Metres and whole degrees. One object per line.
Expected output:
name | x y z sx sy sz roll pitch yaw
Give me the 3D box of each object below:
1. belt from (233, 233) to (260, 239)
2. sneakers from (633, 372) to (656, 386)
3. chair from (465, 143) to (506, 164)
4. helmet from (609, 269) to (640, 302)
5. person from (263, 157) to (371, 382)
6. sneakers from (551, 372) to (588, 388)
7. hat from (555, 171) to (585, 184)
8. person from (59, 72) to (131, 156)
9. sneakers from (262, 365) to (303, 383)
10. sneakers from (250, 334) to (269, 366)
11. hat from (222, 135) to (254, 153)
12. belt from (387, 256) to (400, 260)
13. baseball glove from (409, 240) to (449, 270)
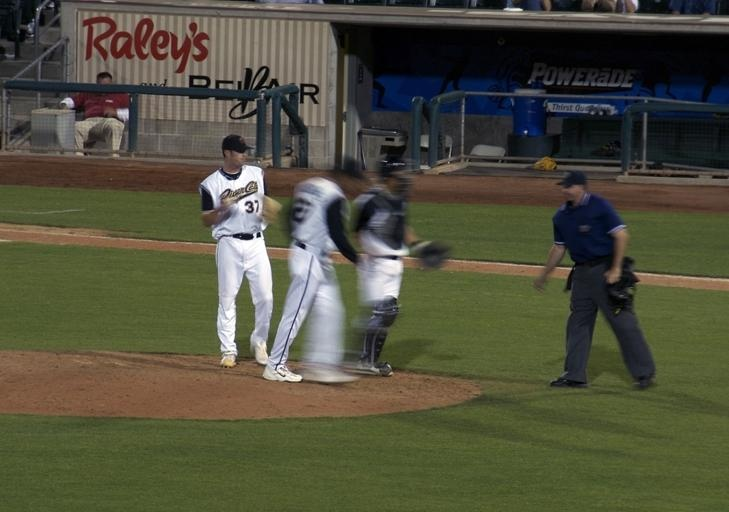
belt | -1.450 -0.241 18.622 0.355 0.081 0.094 -1 7 -37
sneakers | 3.478 1.514 18.643 0.276 0.197 0.144 -6 4 -10
chair | 2.504 -2.107 30.822 0.654 0.702 0.593 3 6 0
helmet | 3.146 0.383 18.328 0.381 0.407 0.188 -1 9 -39
person | -0.587 0.315 18.019 1.029 2.511 0.508 4 7 1
sneakers | 2.515 1.523 18.593 0.434 0.126 0.160 4 4 4
hat | 2.523 -0.947 18.365 0.263 0.106 0.157 2 7 -6
person | -4.988 -2.526 28.098 1.128 1.348 0.404 3 7 -8
sneakers | -1.002 1.431 18.309 0.542 0.179 0.183 1 5 1
sneakers | -1.319 1.172 18.905 0.192 0.401 0.193 -13 9 -7
hat | -1.586 -1.376 18.589 0.379 0.164 0.232 -2 10 12
belt | 0.346 0.019 18.176 0.079 0.061 0.081 11 13 43
baseball glove | 0.859 -0.029 18.474 0.529 0.249 0.232 17 1 4
